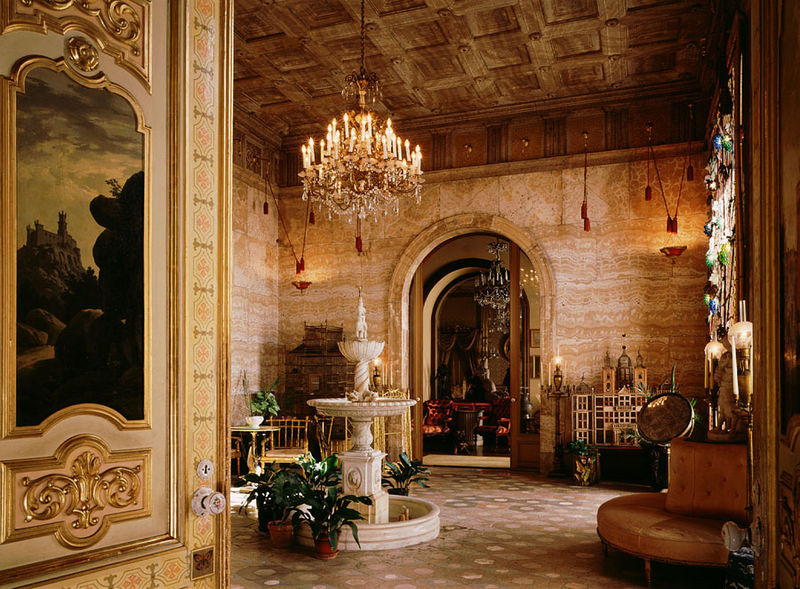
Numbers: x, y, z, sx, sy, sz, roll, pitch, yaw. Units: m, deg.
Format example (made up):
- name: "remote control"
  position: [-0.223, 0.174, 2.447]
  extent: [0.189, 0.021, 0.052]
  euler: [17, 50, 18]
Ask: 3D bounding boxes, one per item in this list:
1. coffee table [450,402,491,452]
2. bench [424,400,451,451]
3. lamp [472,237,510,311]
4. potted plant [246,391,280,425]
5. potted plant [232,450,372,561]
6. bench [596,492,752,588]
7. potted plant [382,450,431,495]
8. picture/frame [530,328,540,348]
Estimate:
- name: "coffee table"
  position: [1.353, 2.733, 14.493]
  extent: [0.830, 1.009, 0.877]
  euler: [-3, -5, 27]
- name: "bench"
  position: [0.809, 2.801, 14.806]
  extent: [0.723, 1.049, 0.838]
  euler: [0, -9, 5]
- name: "lamp"
  position: [2.162, -0.442, 16.104]
  extent: [0.785, 1.576, 2.274]
  euler: [1, -1, 7]
- name: "potted plant"
  position: [-2.212, 1.795, 11.183]
  extent: [0.515, 0.541, 0.536]
  euler: [-2, -4, 25]
- name: "potted plant"
  position: [-0.858, 2.032, 6.865]
  extent: [0.791, 0.608, 1.044]
  euler: [10, -13, -39]
- name: "bench"
  position: [2.250, 2.119, 5.950]
  extent: [0.848, 0.642, 1.281]
  euler: [2, -1, -6]
- name: "potted plant"
  position: [0.100, 2.142, 8.278]
  extent: [0.721, 0.508, 0.732]
  euler: [5, -10, -18]
- name: "picture/frame"
  position: [3.131, 0.989, 15.929]
  extent: [0.151, 0.397, 0.211]
  euler: [2, -1, -31]
